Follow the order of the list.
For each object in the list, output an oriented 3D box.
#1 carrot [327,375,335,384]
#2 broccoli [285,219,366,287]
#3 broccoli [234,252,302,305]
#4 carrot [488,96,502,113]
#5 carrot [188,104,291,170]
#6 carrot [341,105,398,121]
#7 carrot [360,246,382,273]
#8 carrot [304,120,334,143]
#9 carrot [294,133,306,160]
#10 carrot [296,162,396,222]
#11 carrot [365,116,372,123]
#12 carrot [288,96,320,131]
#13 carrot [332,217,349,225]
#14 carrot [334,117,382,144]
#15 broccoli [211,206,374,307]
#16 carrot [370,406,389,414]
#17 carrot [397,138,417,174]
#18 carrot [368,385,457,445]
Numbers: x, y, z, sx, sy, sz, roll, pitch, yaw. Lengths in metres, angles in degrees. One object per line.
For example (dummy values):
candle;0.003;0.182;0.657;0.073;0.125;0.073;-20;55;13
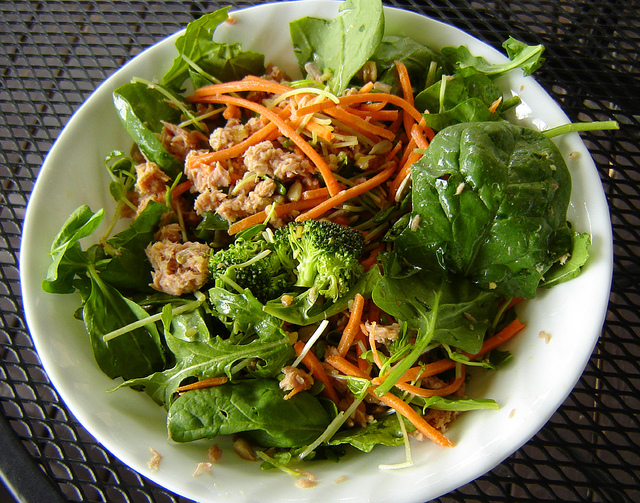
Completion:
carrot;0.036;0.451;2.116;0.026;0.017;0.023;1;42;2
broccoli;-0.006;0.004;2.120;0.293;0.266;0.227;14;94;20
broccoli;-0.192;0.103;2.061;0.163;0.189;0.081;16;63;11
carrot;0.649;-0.537;2.231;0.088;0.026;0.024;-40;50;-18
carrot;-0.289;-0.416;2.241;0.422;0.058;0.073;-32;66;-2
carrot;0.204;-0.508;2.250;0.254;0.041;0.069;2;48;-7
carrot;0.186;0.031;2.188;0.120;0.029;0.033;-46;106;-20
carrot;-0.001;-0.431;2.166;0.147;0.047;0.043;31;92;41
carrot;-0.077;-0.384;2.216;0.034;0.085;0.082;-3;93;18
carrot;0.088;-0.210;2.195;0.481;0.060;0.048;-21;30;-10
carrot;0.181;-0.489;2.247;0.016;0.024;0.023;8;77;30
carrot;-0.056;-0.501;2.205;0.113;0.116;0.026;-39;97;-5
carrot;0.080;-0.109;2.193;0.037;0.010;0.032;8;59;-7
carrot;0.133;-0.446;2.228;0.187;0.031;0.028;27;98;-10
broccoli;-0.114;-0.040;2.095;0.629;0.365;0.335;-6;107;-13
carrot;0.206;0.554;2.105;0.047;0.012;0.025;-2;84;20
carrot;0.321;-0.357;2.268;0.037;0.028;0.142;26;98;-14
carrot;0.321;0.554;2.031;0.348;0.047;0.077;35;113;20
